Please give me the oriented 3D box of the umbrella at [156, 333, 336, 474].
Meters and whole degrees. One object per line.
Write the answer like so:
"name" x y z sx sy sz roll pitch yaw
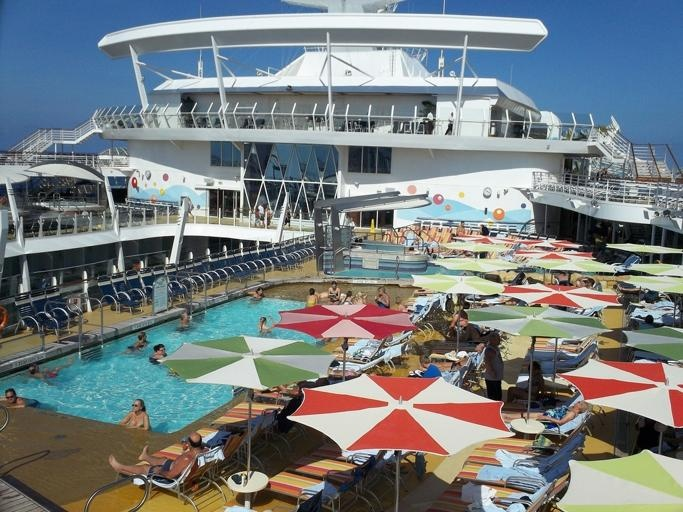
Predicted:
"umbrella" -1.268 2.206 8.127 2.055 1.637 2.038 13 18 22

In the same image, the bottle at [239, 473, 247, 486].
"bottle" -1.262 2.902 7.294 0.087 0.099 0.269 2 -2 -13

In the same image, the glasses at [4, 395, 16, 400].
"glasses" -5.856 2.513 10.023 0.139 0.039 0.136 0 -3 -3

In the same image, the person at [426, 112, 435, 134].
"person" 4.940 -7.341 31.106 0.504 1.144 0.466 2 5 9

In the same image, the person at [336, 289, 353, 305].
"person" 0.108 1.151 15.817 0.211 0.696 0.269 30 46 33

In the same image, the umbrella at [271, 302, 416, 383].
"umbrella" 0.035 1.080 9.723 1.584 1.276 1.601 12 21 32

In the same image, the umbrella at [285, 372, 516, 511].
"umbrella" 0.642 1.661 6.126 1.813 1.458 1.845 18 26 35

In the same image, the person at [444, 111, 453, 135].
"person" 6.016 -7.404 31.368 0.488 1.345 1.343 2 6 10

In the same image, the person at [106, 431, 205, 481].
"person" -2.569 2.721 7.691 1.119 0.564 0.504 14 -12 -8
